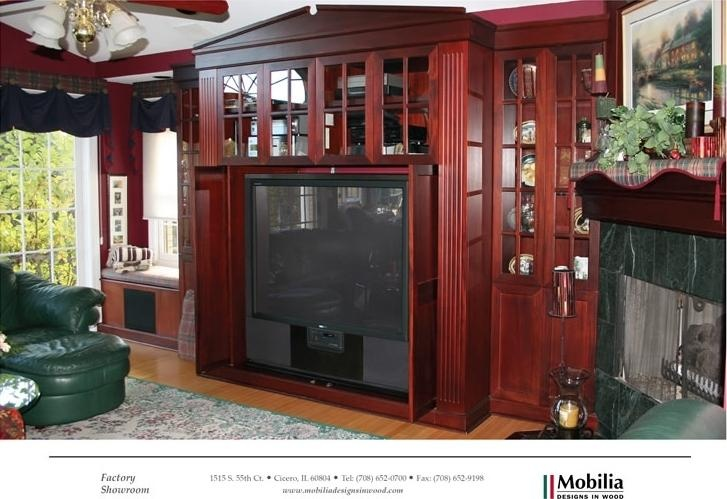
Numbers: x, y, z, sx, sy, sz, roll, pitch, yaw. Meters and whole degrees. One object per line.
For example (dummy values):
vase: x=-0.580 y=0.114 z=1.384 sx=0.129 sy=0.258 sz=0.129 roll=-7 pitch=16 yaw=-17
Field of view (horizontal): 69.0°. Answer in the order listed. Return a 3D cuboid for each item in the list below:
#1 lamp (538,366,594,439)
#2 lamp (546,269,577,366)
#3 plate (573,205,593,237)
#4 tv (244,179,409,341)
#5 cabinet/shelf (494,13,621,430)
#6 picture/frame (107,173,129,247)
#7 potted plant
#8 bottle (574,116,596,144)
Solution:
lamp: x=1.312 y=1.004 z=3.336 sx=0.333 sy=0.465 sz=0.334 roll=1 pitch=9 yaw=5
lamp: x=1.423 y=0.489 z=3.776 sx=0.190 sy=0.732 sz=0.351 roll=3 pitch=9 yaw=19
plate: x=1.589 y=-0.212 z=3.822 sx=0.119 sy=0.200 sz=0.071 roll=4 pitch=10 yaw=27
tv: x=-0.334 y=0.043 z=4.302 sx=1.618 sy=1.242 sz=0.091 roll=4 pitch=6 yaw=31
cabinet/shelf: x=1.446 y=-0.194 z=3.906 sx=0.881 sy=2.885 sz=0.423 roll=-1 pitch=-5 yaw=43
picture/frame: x=-2.891 y=-0.461 z=6.196 sx=0.081 sy=0.794 sz=0.265 roll=5 pitch=10 yaw=30
potted plant: x=1.583 y=-0.638 z=2.971 sx=0.455 sy=0.313 sz=0.449 roll=6 pitch=53 yaw=33
bottle: x=1.590 y=-0.847 z=3.801 sx=0.174 sy=0.251 sz=0.172 roll=0 pitch=0 yaw=0
